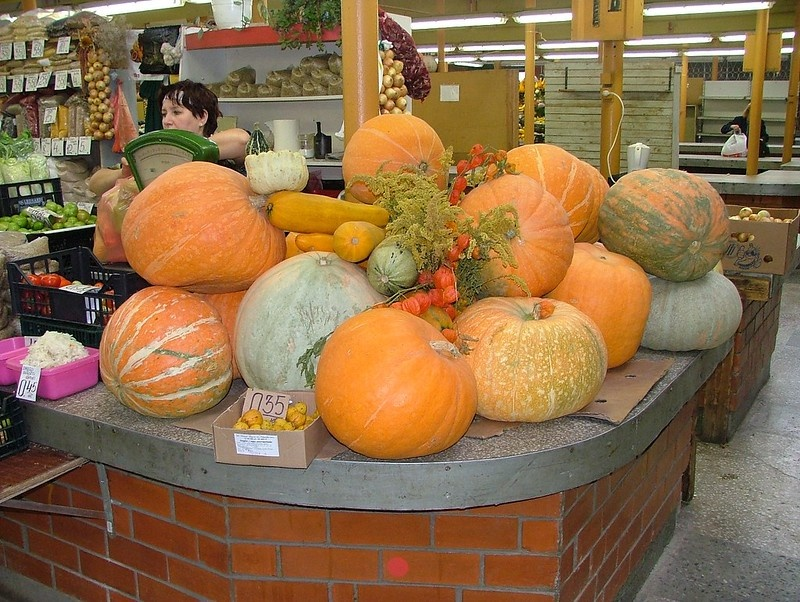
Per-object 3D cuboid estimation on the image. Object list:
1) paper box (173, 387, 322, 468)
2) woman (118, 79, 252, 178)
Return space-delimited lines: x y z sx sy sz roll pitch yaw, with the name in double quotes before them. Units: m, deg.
"paper box" -0.361 0.378 2.014 0.418 0.124 0.469 -1 13 17
"woman" -1.374 -1.277 4.505 0.568 0.605 0.254 3 -25 -23
